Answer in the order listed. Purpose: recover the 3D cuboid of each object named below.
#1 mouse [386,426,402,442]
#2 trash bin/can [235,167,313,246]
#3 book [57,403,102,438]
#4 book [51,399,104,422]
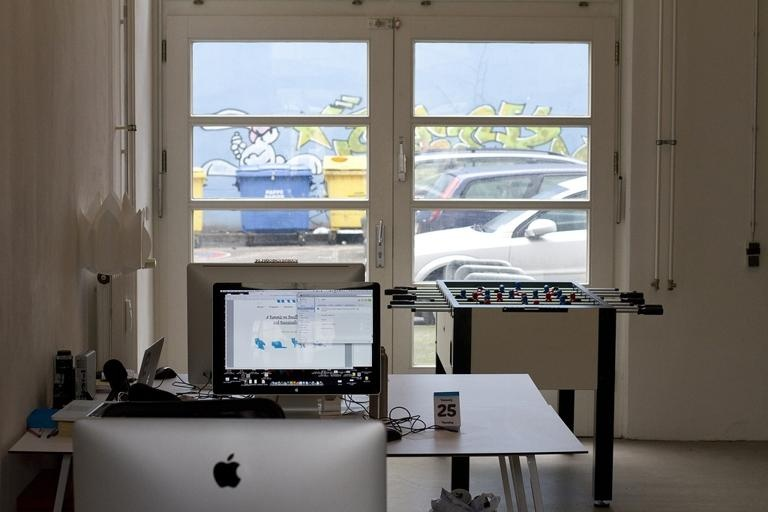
[{"bbox_3d":[0.056,0.891,4.765,0.072,0.065,0.083,0,1,-5],"label":"mouse"},{"bbox_3d":[-0.781,-0.364,7.055,0.564,0.605,0.452,1,0,-4],"label":"trash bin/can"},{"bbox_3d":[-1.410,0.770,4.438,0.142,0.069,0.250,1,2,-7],"label":"book"},{"bbox_3d":[-1.569,0.795,4.897,0.218,0.058,0.227,0,4,-22],"label":"book"}]
